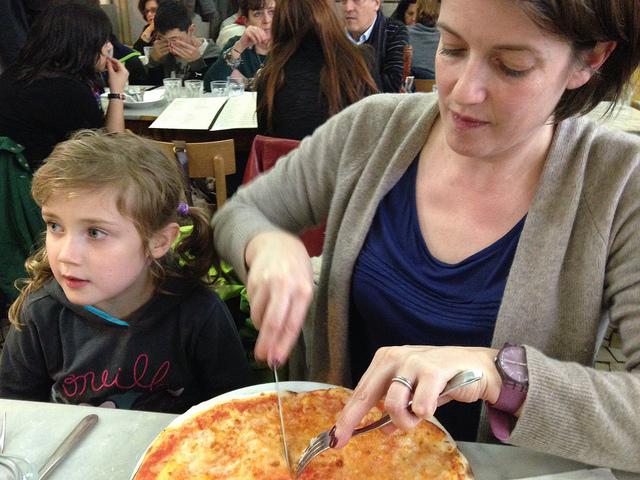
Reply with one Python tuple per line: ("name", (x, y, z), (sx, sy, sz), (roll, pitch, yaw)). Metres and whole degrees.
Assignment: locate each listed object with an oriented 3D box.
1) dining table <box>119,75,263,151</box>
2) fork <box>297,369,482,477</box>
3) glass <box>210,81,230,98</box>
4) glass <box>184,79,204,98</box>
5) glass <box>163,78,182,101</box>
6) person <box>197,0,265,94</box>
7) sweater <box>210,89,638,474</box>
("dining table", (-0.773, -0.772, 3.458), (0.733, 0.187, 0.515), (8, 44, 10))
("fork", (0.154, 0.418, 1.272), (0.411, 0.050, 0.061), (-32, 57, 11))
("glass", (-0.726, -1.089, 4.121), (0.110, 0.122, 0.146), (0, 11, -2))
("glass", (-0.882, -1.096, 4.076), (0.122, 0.155, 0.129), (4, 4, 28))
("glass", (-1.022, -1.058, 4.023), (0.146, 0.193, 0.158), (0, 11, -1))
("person", (-0.611, -1.438, 4.374), (0.262, 0.812, 0.577), (20, 0, -27))
("sweater", (0.280, 0.115, 1.441), (0.722, 0.751, 0.420), (14, -12, 40))
